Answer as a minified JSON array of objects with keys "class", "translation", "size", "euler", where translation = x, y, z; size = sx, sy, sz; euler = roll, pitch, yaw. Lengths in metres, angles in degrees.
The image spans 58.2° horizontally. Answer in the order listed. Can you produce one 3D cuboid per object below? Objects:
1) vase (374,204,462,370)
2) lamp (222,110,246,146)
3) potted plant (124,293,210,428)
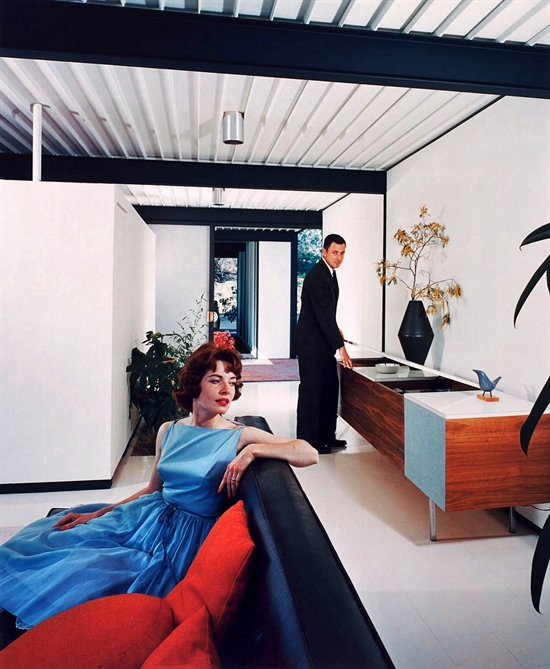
[{"class":"vase","translation":[1.155,-0.422,4.184],"size":[0.429,1.288,1.275],"euler":[0,3,2]},{"class":"lamp","translation":[-0.302,-1.447,3.454],"size":[0.147,0.235,0.098],"euler":[1,3,7]},{"class":"potted plant","translation":[-0.902,0.266,4.328],"size":[0.661,1.170,0.607],"euler":[7,0,33]}]
